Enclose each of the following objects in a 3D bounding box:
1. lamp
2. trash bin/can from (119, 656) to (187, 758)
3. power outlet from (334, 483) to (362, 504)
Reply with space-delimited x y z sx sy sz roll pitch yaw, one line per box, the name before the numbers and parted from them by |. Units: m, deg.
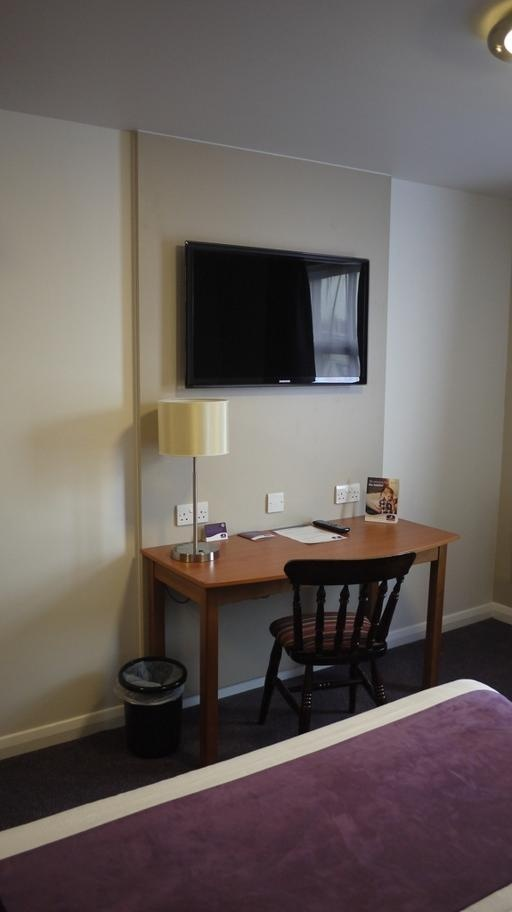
lamp | -0.255 0.076 2.370 0.234 0.596 0.337 0 11 -19
trash bin/can | -0.356 0.853 2.389 0.258 0.343 0.282 -3 9 -11
power outlet | 0.418 0.180 3.029 0.164 0.094 0.015 -5 13 -38
